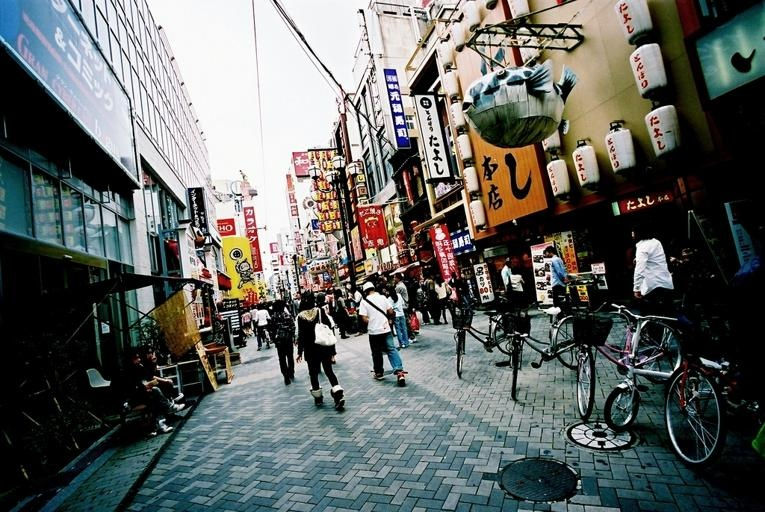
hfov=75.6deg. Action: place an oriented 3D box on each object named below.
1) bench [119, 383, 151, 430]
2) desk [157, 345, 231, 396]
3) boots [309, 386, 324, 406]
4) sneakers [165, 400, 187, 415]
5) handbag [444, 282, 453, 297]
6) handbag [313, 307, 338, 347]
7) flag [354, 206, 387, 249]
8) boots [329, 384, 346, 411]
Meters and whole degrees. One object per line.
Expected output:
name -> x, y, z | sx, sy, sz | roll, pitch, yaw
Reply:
bench -> -5.697, 3.435, 11.357 | 0.625, 1.036, 1.904 | -11, 1, -31
desk -> -5.514, 3.086, 14.357 | 1.101, 1.010, 2.079 | -38, -4, 12
boots -> -1.497, 3.274, 11.500 | 0.248, 0.407, 0.415 | -10, 1, -11
sneakers -> -5.005, 3.660, 11.854 | 0.575, 0.200, 0.251 | -11, -48, 0
handbag -> 2.369, 1.273, 18.352 | 0.247, 0.494, 0.350 | -14, -5, 36
handbag -> -1.404, 1.713, 11.661 | 0.494, 0.899, 0.929 | -10, 1, -9
flag -> -0.582, -1.830, 30.867 | 1.400, 2.800, 1.253 | -10, 1, 9
boots -> -0.980, 3.149, 10.999 | 0.198, 0.609, 0.267 | -13, -1, -21
